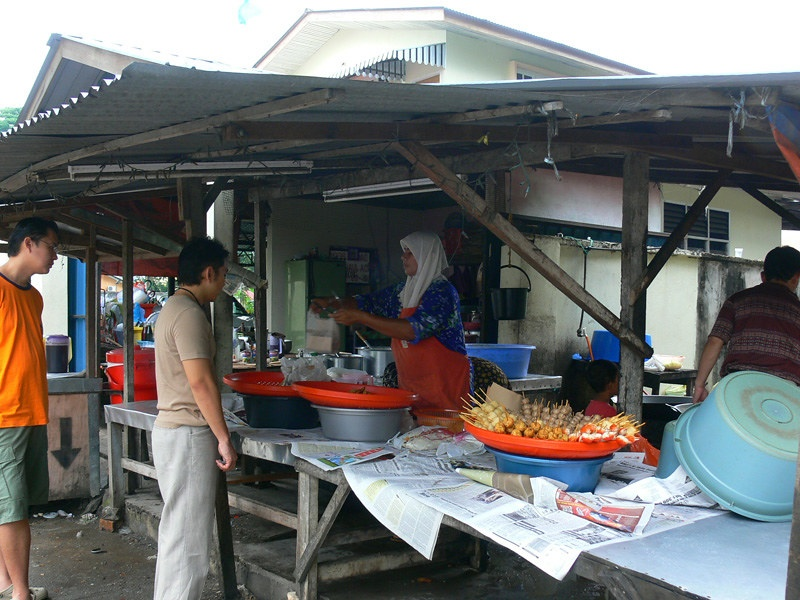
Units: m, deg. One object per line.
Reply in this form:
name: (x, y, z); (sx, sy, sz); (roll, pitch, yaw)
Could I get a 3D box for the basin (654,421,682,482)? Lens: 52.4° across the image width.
basin: (1.305, 0.700, 4.031); (0.154, 0.229, 0.146); (-1, 3, 0)

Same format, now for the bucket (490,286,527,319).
bucket: (1.042, 0.034, 7.870); (0.331, 0.208, 0.305); (-1, -8, 0)

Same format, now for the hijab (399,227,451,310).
hijab: (0.176, -0.173, 5.446); (0.341, 0.545, 0.300); (1, 8, -11)

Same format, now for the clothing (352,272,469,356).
clothing: (0.117, 0.107, 5.524); (0.650, 0.538, 0.977); (-5, 11, -27)

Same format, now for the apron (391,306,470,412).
apron: (0.256, 0.435, 5.422); (0.505, 0.616, 0.352); (-2, 18, 30)

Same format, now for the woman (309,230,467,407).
woman: (-0.003, 0.343, 5.412); (1.012, 1.440, 0.678); (-5, 11, -11)

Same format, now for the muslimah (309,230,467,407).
muslimah: (0.022, 0.354, 5.413); (1.009, 1.449, 0.709); (-7, 9, -23)

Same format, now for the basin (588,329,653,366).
basin: (2.172, 0.467, 8.201); (0.570, 0.348, 0.537); (0, -3, 0)

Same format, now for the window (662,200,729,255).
window: (4.352, -1.026, 11.996); (1.349, 0.701, 0.071); (4, -6, -27)
